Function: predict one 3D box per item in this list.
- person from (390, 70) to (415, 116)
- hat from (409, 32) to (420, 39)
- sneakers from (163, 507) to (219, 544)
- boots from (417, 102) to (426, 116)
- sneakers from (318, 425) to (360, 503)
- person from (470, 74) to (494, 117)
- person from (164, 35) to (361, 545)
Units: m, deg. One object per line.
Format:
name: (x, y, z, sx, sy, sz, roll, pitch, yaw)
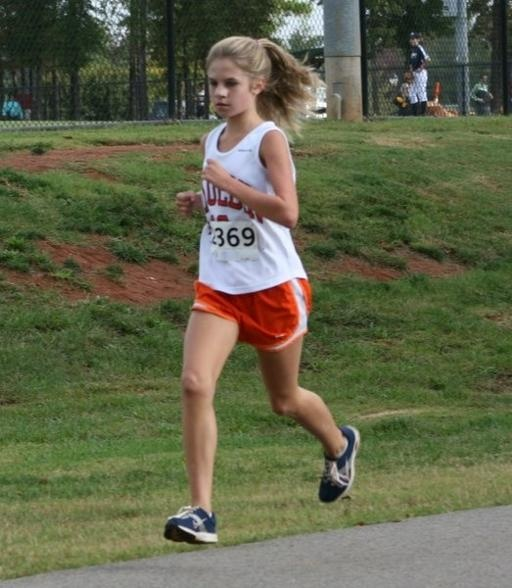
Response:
person: (2.143, -2.941, 16.943, 0.159, 0.629, 0.531, 4, 12, 25)
hat: (2.333, -3.797, 17.048, 0.120, 0.055, 0.138, 3, 3, 33)
sneakers: (-0.292, 0.974, 4.904, 0.112, 0.124, 0.276, -22, -31, 34)
boots: (2.472, -2.769, 17.291, 0.149, 0.198, 0.211, 1, 7, 0)
sneakers: (0.419, 0.829, 5.693, 0.161, 0.388, 0.174, 3, -23, 44)
person: (3.552, -3.137, 18.249, 0.499, 0.667, 0.410, 8, 16, 14)
person: (0.035, -0.048, 5.336, 0.838, 2.276, 1.438, -1, 11, 5)
